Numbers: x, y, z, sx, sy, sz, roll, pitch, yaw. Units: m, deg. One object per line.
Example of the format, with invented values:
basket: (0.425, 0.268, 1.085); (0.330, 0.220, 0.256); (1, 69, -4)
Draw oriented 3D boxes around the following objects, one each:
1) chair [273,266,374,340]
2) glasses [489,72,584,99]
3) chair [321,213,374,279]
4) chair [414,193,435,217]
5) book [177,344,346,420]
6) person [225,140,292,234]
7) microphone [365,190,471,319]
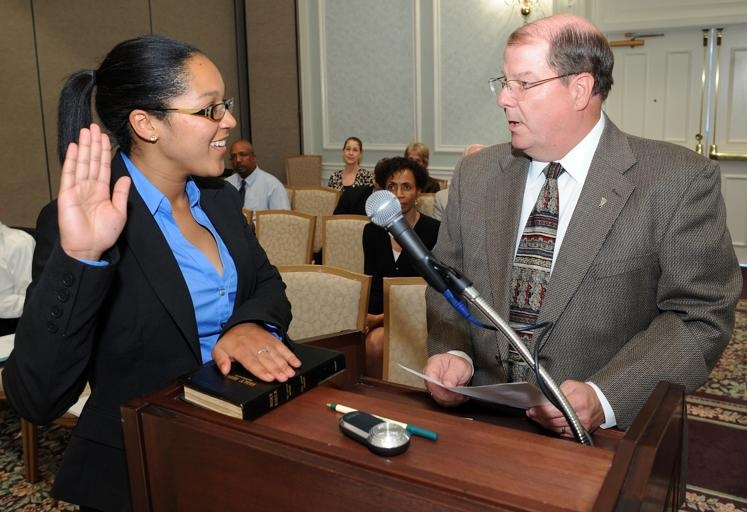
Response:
chair: (-0.241, 0.210, 2.854); (0.388, 0.602, 0.420); (1, 2, 23)
glasses: (0.429, -0.519, 1.649); (0.183, 0.063, 0.331); (-10, 17, -29)
chair: (-0.226, -0.081, 4.424); (0.393, 0.770, 0.445); (3, 7, 23)
chair: (0.482, -0.477, 5.110); (0.190, 0.293, 0.226); (0, -3, 22)
book: (-0.258, 0.302, 1.294); (0.174, 0.039, 0.181); (8, 13, 30)
person: (-1.377, -0.772, 6.130); (0.988, 1.050, 0.526); (3, 13, 13)
microphone: (0.097, -0.009, 1.215); (0.247, 0.265, 0.111); (3, 15, 19)
